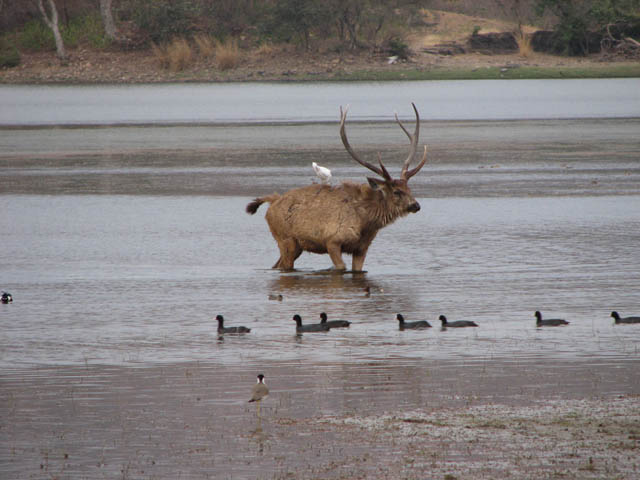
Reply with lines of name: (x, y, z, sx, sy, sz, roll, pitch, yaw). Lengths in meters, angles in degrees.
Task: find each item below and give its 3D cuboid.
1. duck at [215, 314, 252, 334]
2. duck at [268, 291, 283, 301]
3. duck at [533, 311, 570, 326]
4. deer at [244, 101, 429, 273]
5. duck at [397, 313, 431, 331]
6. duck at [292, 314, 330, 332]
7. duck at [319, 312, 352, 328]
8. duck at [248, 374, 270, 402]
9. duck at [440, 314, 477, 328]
duck: (-1.714, 1.660, 29.502, 0.784, 0.506, 0.285, 5, -2, 9)
duck: (-0.899, 1.187, 31.300, 0.298, 0.295, 0.126, -2, -1, -8)
duck: (4.498, 1.554, 29.642, 0.624, 0.407, 0.271, 3, -3, 7)
deer: (0.551, -0.348, 32.985, 2.824, 2.752, 2.105, 11, 27, 27)
duck: (1.853, 1.610, 29.467, 0.664, 0.282, 0.338, 0, 24, 4)
duck: (-0.147, 1.578, 29.489, 0.658, 0.364, 0.611, -3, 24, -1)
duck: (0.304, 1.545, 29.520, 0.428, 0.303, 0.302, 3, -1, 5)
duck: (-1.021, 2.600, 26.701, 0.222, 0.361, 0.587, 4, 23, 24)
duck: (2.713, 1.613, 29.594, 0.796, 0.306, 0.268, 6, 0, 10)
